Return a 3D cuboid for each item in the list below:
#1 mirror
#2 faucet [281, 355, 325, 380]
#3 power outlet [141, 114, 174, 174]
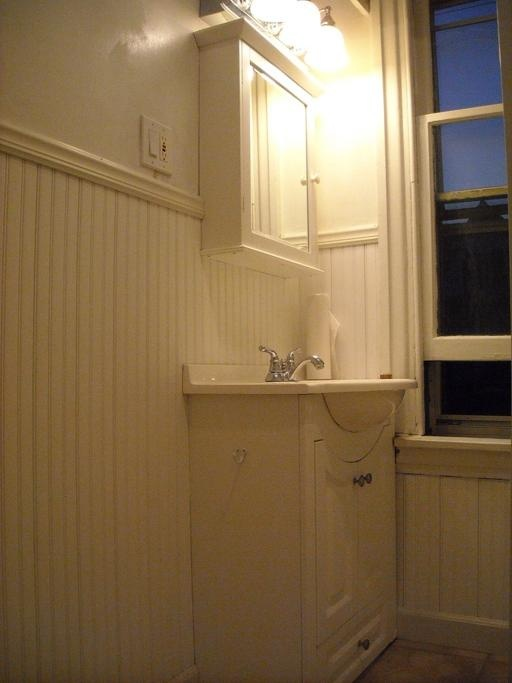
[{"bbox_3d":[0.071,-0.524,1.758,0.038,0.572,0.511,-2,3,25],"label":"mirror"},{"bbox_3d":[0.141,0.072,1.636,0.054,0.086,0.192,6,-5,-23],"label":"faucet"},{"bbox_3d":[-0.237,-0.467,1.420,0.018,0.153,0.156,-1,-2,22],"label":"power outlet"}]
